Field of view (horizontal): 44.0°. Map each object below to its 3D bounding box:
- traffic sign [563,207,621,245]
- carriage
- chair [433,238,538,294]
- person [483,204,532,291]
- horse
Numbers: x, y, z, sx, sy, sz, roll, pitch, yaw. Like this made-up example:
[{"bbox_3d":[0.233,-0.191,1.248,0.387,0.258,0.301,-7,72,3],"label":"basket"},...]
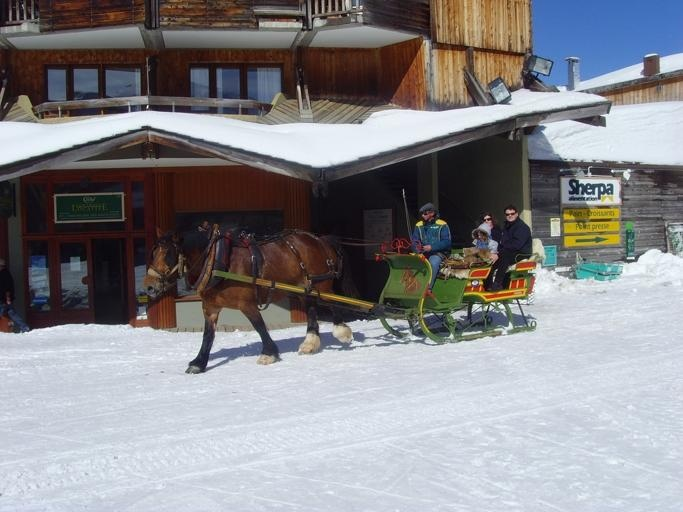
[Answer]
[{"bbox_3d":[7.421,-0.854,25.390,2.366,1.329,0.218,-9,15,-29],"label":"traffic sign"},{"bbox_3d":[0.495,0.512,17.165,8.566,2.786,3.076,-2,-2,-33],"label":"carriage"},{"bbox_3d":[2.747,0.193,17.428,1.593,0.846,0.938,1,-1,-25],"label":"chair"},{"bbox_3d":[3.286,-0.074,17.775,0.873,1.819,0.931,-10,16,-44],"label":"person"},{"bbox_3d":[-1.654,0.794,16.837,4.458,2.702,1.203,-2,0,-37],"label":"horse"}]
